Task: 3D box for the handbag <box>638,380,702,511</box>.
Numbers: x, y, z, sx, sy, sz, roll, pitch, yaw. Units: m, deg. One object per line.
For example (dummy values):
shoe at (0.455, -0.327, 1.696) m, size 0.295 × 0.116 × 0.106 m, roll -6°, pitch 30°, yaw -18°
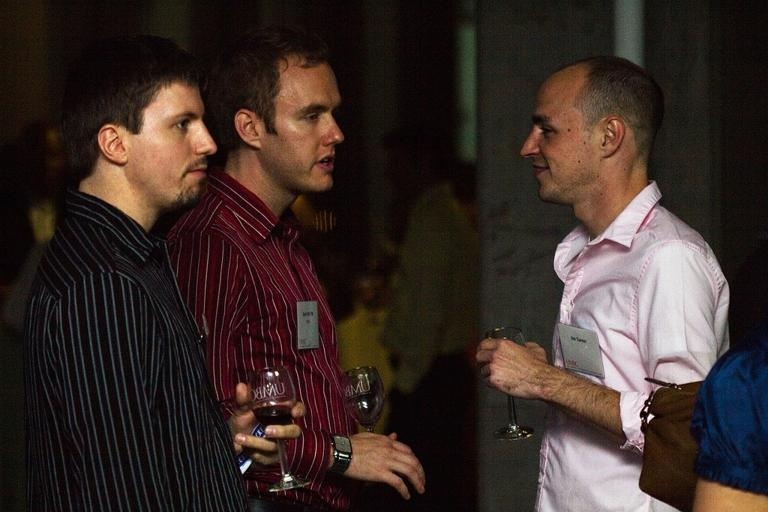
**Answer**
handbag at (0.934, 0.608, 2.891) m, size 0.186 × 0.320 × 0.214 m, roll -2°, pitch 1°, yaw 22°
